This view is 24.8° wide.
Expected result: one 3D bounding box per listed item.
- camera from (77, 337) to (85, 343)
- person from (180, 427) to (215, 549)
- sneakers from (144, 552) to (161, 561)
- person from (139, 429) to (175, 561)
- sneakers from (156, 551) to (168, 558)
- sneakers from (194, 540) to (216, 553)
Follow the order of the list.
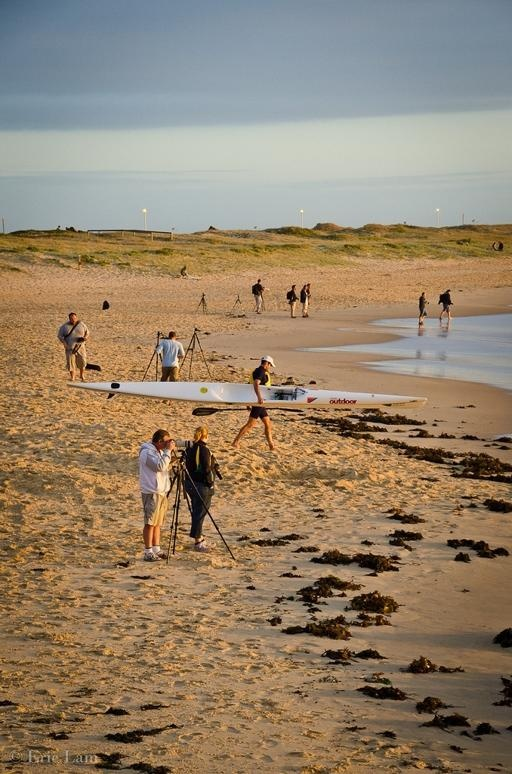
[{"bbox_3d":[-3.088,-0.827,20.421,0.095,0.055,0.156,4,-2,-8],"label":"camera"},{"bbox_3d":[-0.594,1.050,12.153,0.353,1.274,0.426,3,11,-2],"label":"person"},{"bbox_3d":[-1.053,1.692,11.667,0.141,0.052,0.066,-2,21,-5],"label":"sneakers"},{"bbox_3d":[-1.025,1.066,11.721,0.320,1.313,0.492,3,11,-5],"label":"person"},{"bbox_3d":[-0.961,1.690,11.801,0.128,0.055,0.041,-8,33,-32],"label":"sneakers"},{"bbox_3d":[-0.562,1.647,12.162,0.096,0.074,0.168,5,18,8],"label":"sneakers"}]
